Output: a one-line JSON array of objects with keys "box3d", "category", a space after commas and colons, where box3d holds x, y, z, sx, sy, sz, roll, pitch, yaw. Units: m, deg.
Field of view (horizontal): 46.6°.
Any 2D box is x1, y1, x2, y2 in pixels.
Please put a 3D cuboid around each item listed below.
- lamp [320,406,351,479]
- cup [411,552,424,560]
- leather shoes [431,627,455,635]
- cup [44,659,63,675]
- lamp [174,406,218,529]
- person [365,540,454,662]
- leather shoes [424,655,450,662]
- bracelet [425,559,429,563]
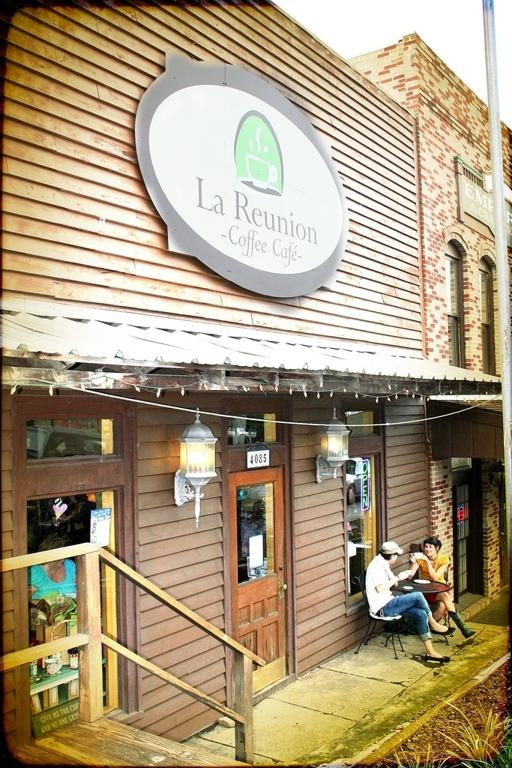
[{"box3d": [0.923, 0.697, 7.005, 0.315, 0.833, 0.571, 0, -7, 8], "category": "lamp"}, {"box3d": [2.154, 2.299, 7.992, 0.168, 0.132, 0.115, -5, -4, 31], "category": "cup"}, {"box3d": [2.459, 3.272, 7.849, 0.164, 0.057, 0.287, 3, -7, -43], "category": "leather shoes"}, {"box3d": [-1.380, 1.923, 4.063, 0.069, 0.085, 0.115, -4, -10, 25], "category": "cup"}, {"box3d": [-0.524, 0.718, 4.968, 0.302, 0.916, 0.413, 5, -8, -25], "category": "lamp"}, {"box3d": [1.912, 2.630, 7.318, 0.884, 1.348, 1.224, -2, -8, 29], "category": "person"}, {"box3d": [2.127, 3.226, 6.972, 0.194, 0.072, 0.117, -11, -14, 26], "category": "leather shoes"}, {"box3d": [2.297, 2.368, 7.972, 0.053, 0.014, 0.054, -7, -5, 17], "category": "bracelet"}]
